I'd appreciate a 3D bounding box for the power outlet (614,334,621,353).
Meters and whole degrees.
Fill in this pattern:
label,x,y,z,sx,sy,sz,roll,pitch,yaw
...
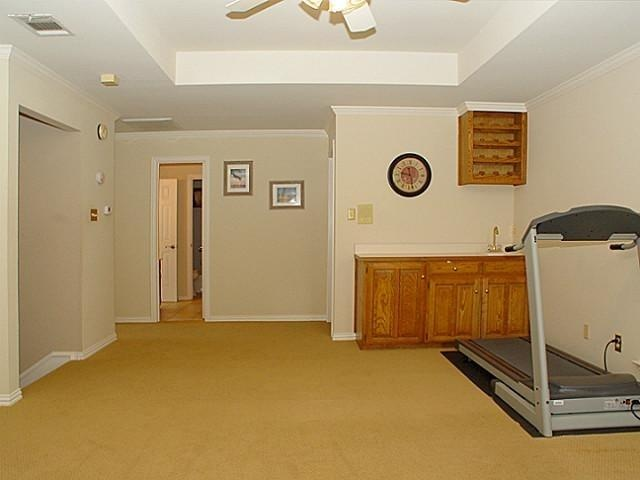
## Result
label,x,y,z,sx,sy,sz,roll,pitch,yaw
power outlet,2.775,0.962,4.449,0.031,0.116,0.082,-1,3,-5

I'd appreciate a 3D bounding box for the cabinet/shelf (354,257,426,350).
label,x,y,z,sx,sy,sz,roll,pitch,yaw
cabinet/shelf,0.806,0.721,5.683,0.868,1.050,0.655,1,-3,-1

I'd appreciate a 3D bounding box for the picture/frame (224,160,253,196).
label,x,y,z,sx,sy,sz,roll,pitch,yaw
picture/frame,-1.161,-0.874,6.678,0.491,0.554,0.039,0,1,-4

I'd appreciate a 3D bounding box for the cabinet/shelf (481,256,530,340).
label,x,y,z,sx,sy,sz,roll,pitch,yaw
cabinet/shelf,2.138,0.639,5.747,0.603,0.989,0.591,-5,11,-12

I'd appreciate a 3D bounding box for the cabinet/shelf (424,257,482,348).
label,x,y,z,sx,sy,sz,roll,pitch,yaw
cabinet/shelf,1.624,0.788,5.650,0.636,1.076,0.467,-4,-32,24

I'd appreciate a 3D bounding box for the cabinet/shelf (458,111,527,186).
label,x,y,z,sx,sy,sz,roll,pitch,yaw
cabinet/shelf,2.073,-1.104,5.704,0.907,1.049,0.369,0,2,-2

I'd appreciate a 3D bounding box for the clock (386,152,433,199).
label,x,y,z,sx,sy,sz,roll,pitch,yaw
clock,1.057,-0.821,5.864,0.597,0.584,0.054,-9,21,-14

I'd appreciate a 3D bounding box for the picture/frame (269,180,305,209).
label,x,y,z,sx,sy,sz,roll,pitch,yaw
picture/frame,-0.471,-0.631,6.688,0.409,0.335,0.031,0,0,-2
